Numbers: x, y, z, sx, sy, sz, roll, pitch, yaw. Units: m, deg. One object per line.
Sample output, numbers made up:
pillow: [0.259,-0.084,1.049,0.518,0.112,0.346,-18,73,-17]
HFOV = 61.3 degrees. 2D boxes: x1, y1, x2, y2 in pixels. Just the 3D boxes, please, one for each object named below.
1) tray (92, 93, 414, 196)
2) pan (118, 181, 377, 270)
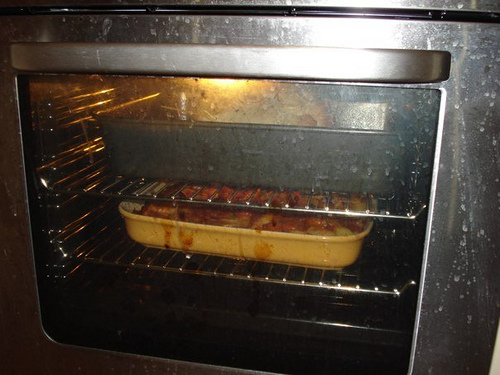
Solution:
tray: [0.011,-0.173,1.006,0.755,0.426,0.176,7,-54,21]
pan: [0.032,0.087,1.061,0.582,0.373,0.106,3,-76,22]
